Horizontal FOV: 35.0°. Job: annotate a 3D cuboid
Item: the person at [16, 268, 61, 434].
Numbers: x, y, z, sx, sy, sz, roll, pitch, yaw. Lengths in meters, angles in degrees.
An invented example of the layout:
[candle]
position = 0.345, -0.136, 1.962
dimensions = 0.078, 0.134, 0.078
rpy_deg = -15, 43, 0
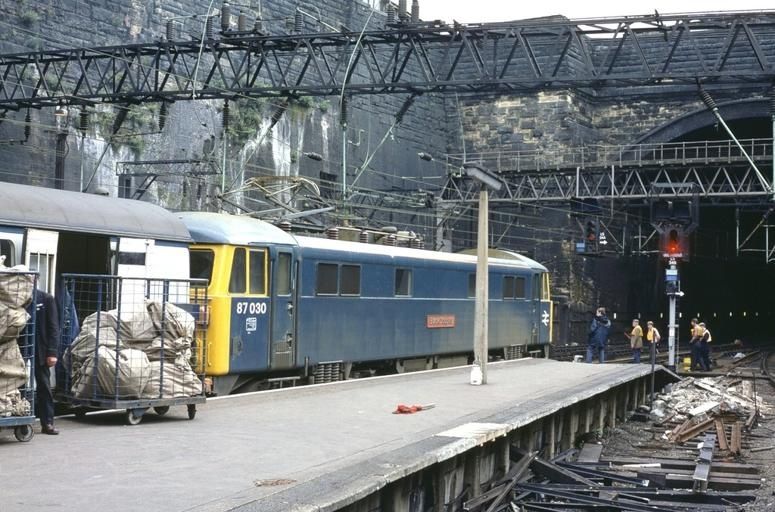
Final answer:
[person]
position = -8.377, 2.565, 30.090
dimensions = 0.629, 3.487, 0.403
rpy_deg = 1, -4, -15

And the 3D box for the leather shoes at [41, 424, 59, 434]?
[leather shoes]
position = -8.201, 4.188, 29.919
dimensions = 0.437, 0.166, 0.166
rpy_deg = 0, 1, -32

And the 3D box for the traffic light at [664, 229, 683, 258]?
[traffic light]
position = 10.952, -0.456, 47.200
dimensions = 0.667, 1.088, 0.359
rpy_deg = -1, -4, 14
